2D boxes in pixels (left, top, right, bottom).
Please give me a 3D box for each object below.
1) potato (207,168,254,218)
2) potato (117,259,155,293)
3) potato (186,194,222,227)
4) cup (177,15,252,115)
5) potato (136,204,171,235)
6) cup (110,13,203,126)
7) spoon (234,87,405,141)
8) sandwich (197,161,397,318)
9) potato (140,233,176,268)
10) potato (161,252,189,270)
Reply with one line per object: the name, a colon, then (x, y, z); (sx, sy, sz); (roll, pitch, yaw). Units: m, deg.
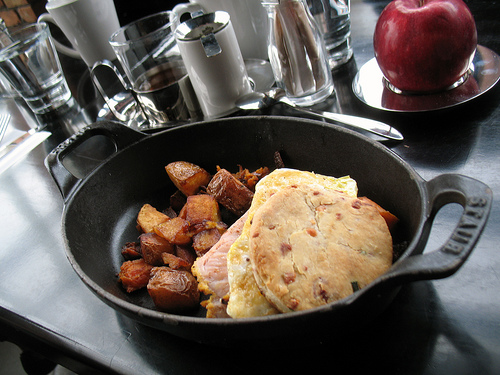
potato: (-0.049, 0.010, 1.085); (0.123, 0.107, 0.112); (4, 26, 11)
potato: (-0.271, 0.202, 0.926); (0.063, 0.030, 0.067); (-12, 47, -22)
potato: (-0.118, 0.054, 1.014); (0.072, 0.083, 0.077); (-10, 0, 0)
cup: (-0.118, -0.469, 1.360); (0.149, 0.308, 0.320); (-6, 51, 13)
potato: (-0.262, 0.077, 1.109); (0.103, 0.071, 0.095); (-7, 18, -32)
cup: (-0.395, -0.380, 1.482); (0.328, 0.375, 0.206); (-23, 35, -11)
spoon: (0.173, -0.233, 1.195); (0.553, 0.051, 0.190); (22, 45, 33)
sandwich: (0.129, 0.104, 0.841); (0.353, 0.105, 0.420); (-4, 39, 7)
potato: (-0.235, 0.148, 1.018); (0.078, 0.070, 0.085); (4, 23, 8)
potato: (-0.187, 0.173, 0.941); (0.044, 0.016, 0.033); (0, 56, 24)
